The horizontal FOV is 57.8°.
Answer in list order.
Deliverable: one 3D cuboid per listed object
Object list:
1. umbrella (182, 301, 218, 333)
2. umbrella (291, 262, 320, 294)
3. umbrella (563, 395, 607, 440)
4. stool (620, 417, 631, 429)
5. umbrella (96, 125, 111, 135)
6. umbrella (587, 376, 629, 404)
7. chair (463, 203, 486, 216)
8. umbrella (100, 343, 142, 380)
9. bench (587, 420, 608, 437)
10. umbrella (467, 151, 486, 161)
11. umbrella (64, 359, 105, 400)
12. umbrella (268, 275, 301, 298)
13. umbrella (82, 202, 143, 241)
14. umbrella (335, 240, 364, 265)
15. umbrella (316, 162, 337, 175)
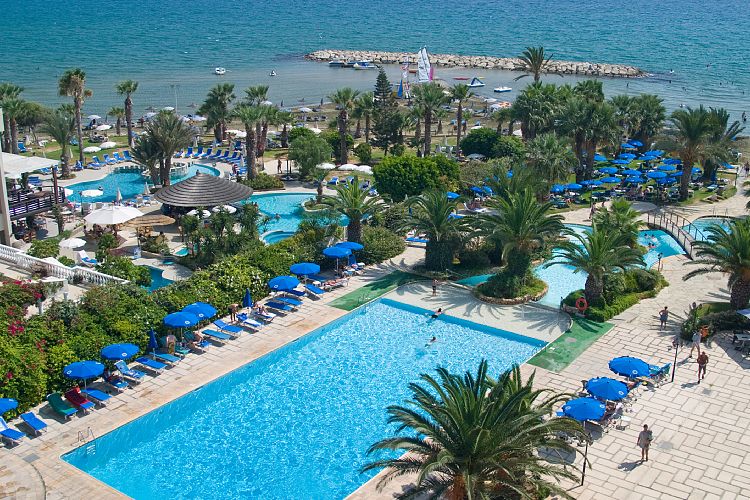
[{"bbox_3d":[-9.992,3.816,39.489,1.651,1.129,1.545,14,34,6],"label":"umbrella"},{"bbox_3d":[-4.591,1.535,45.049,1.755,1.091,1.562,0,35,-1],"label":"umbrella"},{"bbox_3d":[10.249,8.041,32.858,2.431,1.817,1.537,-12,22,-26],"label":"umbrella"},{"bbox_3d":[12.341,8.542,33.619,0.525,0.466,0.519,2,12,27],"label":"stool"},{"bbox_3d":[-36.488,-16.505,91.509,2.362,0.808,2.124,-3,27,-12],"label":"umbrella"},{"bbox_3d":[11.581,6.862,33.671,1.579,0.523,1.470,-11,29,-10],"label":"umbrella"},{"bbox_3d":[8.835,-3.615,61.128,2.127,1.135,0.998,4,32,22],"label":"chair"},{"bbox_3d":[-13.398,5.602,36.004,1.912,1.539,1.717,0,46,-4],"label":"umbrella"},{"bbox_3d":[10.869,8.769,33.293,0.698,0.173,0.639,-1,46,-2],"label":"bench"},{"bbox_3d":[11.207,-10.277,74.486,1.814,0.645,1.980,0,19,6],"label":"umbrella"},{"bbox_3d":[-14.540,6.364,34.584,1.773,1.467,1.738,26,33,21],"label":"umbrella"},{"bbox_3d":[-5.785,2.431,43.381,1.614,0.995,1.487,-5,34,-12],"label":"umbrella"},{"bbox_3d":[-20.229,-2.339,52.620,3.723,2.186,3.907,-10,21,-23],"label":"umbrella"},{"bbox_3d":[-1.626,0.095,48.573,1.705,1.410,1.657,-10,25,-28],"label":"umbrella"},{"bbox_3d":[-4.682,-7.962,65.464,1.887,1.213,1.756,-4,19,-11],"label":"umbrella"}]
